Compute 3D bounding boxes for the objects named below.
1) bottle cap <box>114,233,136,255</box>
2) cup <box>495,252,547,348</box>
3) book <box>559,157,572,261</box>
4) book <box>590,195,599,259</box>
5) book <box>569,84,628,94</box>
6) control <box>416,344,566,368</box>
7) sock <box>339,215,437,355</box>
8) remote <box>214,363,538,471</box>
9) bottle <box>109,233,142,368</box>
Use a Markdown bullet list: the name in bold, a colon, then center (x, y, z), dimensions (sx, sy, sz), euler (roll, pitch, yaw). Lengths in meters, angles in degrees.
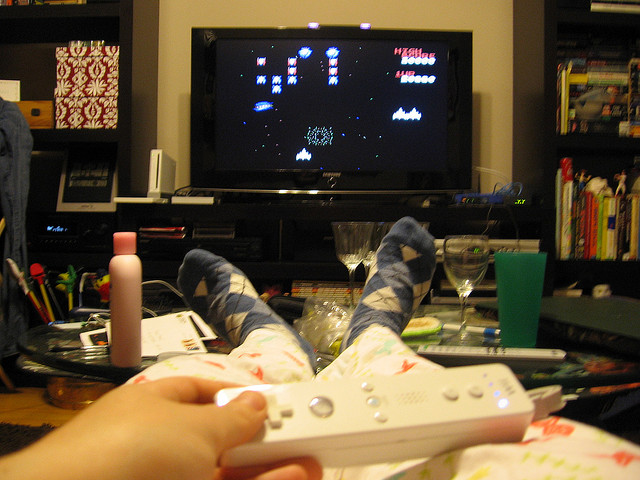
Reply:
- **bottle cap**: center (-0.371, 0.007, 1.038), dimensions (0.041, 0.036, 0.040), euler (0, 1, -14)
- **cup**: center (0.401, 0.117, 1.082), dimensions (0.085, 0.187, 0.073), euler (-1, 7, -7)
- **book**: center (0.969, -0.102, 2.134), dimensions (0.042, 0.355, 0.049), euler (-3, 7, -21)
- **book**: center (1.078, -0.050, 2.132), dimensions (0.029, 0.247, 0.028), euler (3, 7, 22)
- **book**: center (1.097, -0.599, 2.131), dimensions (0.225, 0.037, 0.016), euler (0, 7, -1)
- **control**: center (0.304, 0.212, 0.978), dimensions (0.204, 0.015, 0.047), euler (0, 12, -3)
- **sock**: center (0.185, 0.111, 1.297), dimensions (0.123, 0.129, 0.491), euler (-30, 19, 29)
- **remote**: center (0.110, 0.281, 0.815), dimensions (0.535, 0.126, 0.160), euler (-3, 28, -4)
- **bottle**: center (-0.382, 0.122, 1.058), dimensions (0.067, 0.263, 0.062), euler (1, 2, 0)
